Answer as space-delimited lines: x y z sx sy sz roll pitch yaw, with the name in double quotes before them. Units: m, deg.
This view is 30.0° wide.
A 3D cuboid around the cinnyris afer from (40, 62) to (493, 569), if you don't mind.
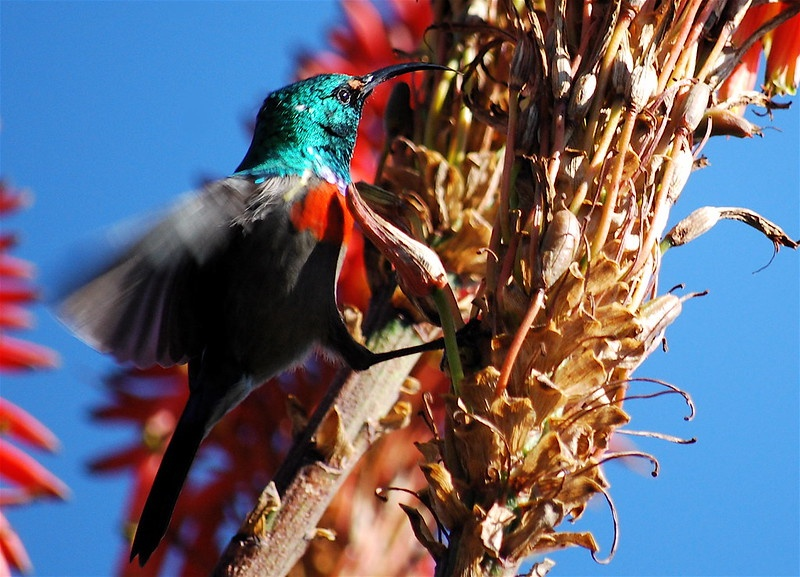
"cinnyris afer" -0.162 -0.022 1.761 0.529 0.366 0.353 -21 5 -10
